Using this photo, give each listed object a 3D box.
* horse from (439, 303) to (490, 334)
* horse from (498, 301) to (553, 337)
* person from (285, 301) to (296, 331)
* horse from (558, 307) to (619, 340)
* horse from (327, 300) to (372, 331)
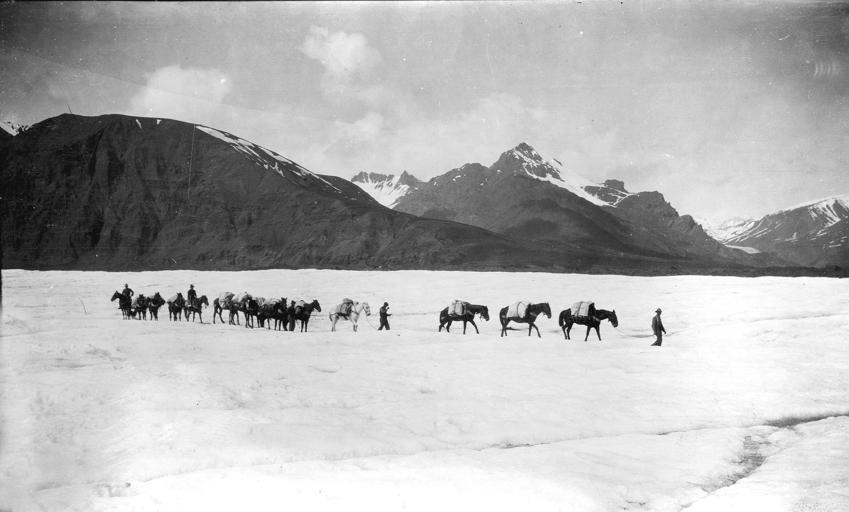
[{"bbox_3d":[2.095,3.374,41.872,3.066,1.760,0.809,-1,-3,29],"label":"horse"},{"bbox_3d":[5.237,3.237,41.427,2.469,1.822,3.270,-1,6,5],"label":"horse"},{"bbox_3d":[-7.274,3.197,42.061,0.529,1.498,0.859,-3,7,-11],"label":"person"},{"bbox_3d":[8.375,3.398,40.372,3.136,1.736,2.492,-6,8,-34],"label":"horse"},{"bbox_3d":[-4.193,3.345,42.962,2.917,1.754,0.932,-5,-11,35],"label":"horse"}]
